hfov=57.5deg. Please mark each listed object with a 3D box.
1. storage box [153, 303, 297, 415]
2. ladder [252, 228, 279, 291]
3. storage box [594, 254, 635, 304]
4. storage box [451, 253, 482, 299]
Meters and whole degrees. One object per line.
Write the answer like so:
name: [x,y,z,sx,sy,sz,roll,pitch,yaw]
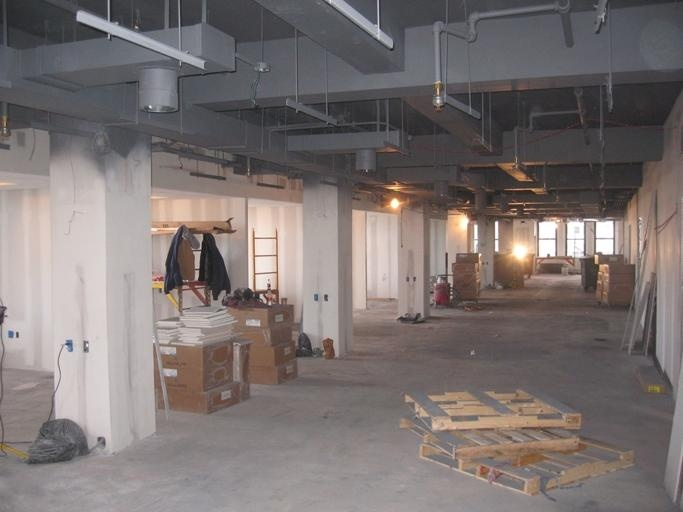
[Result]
storage box: [-1.688,1.415,9.074,0.808,1.137,2.214,-1,1,33]
ladder: [-2.003,0.122,16.382,0.733,1.196,0.753,-2,1,-7]
storage box: [8.891,0.787,20.200,0.962,1.569,1.831,-1,1,18]
storage box: [4.147,0.745,20.767,0.870,1.623,1.408,-1,1,12]
